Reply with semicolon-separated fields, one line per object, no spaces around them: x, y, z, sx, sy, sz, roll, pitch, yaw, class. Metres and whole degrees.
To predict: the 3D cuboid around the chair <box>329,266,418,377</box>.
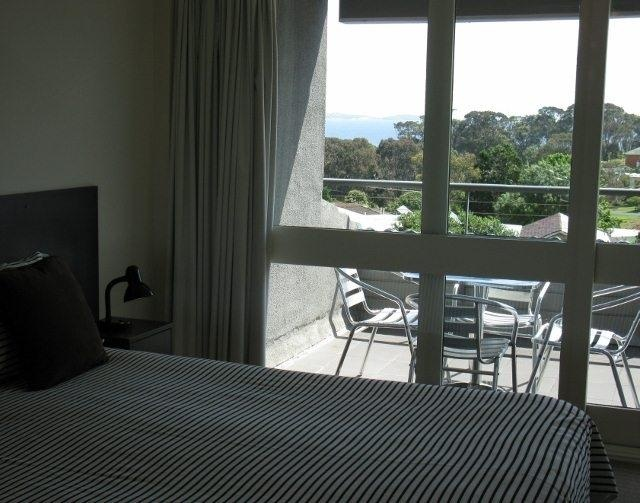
0.476;0.442;3.841;0.626;1.047;0.604;-1;-1;24;chair

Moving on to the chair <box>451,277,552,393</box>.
1.110;0.480;3.447;0.477;0.648;0.461;3;19;27;chair
